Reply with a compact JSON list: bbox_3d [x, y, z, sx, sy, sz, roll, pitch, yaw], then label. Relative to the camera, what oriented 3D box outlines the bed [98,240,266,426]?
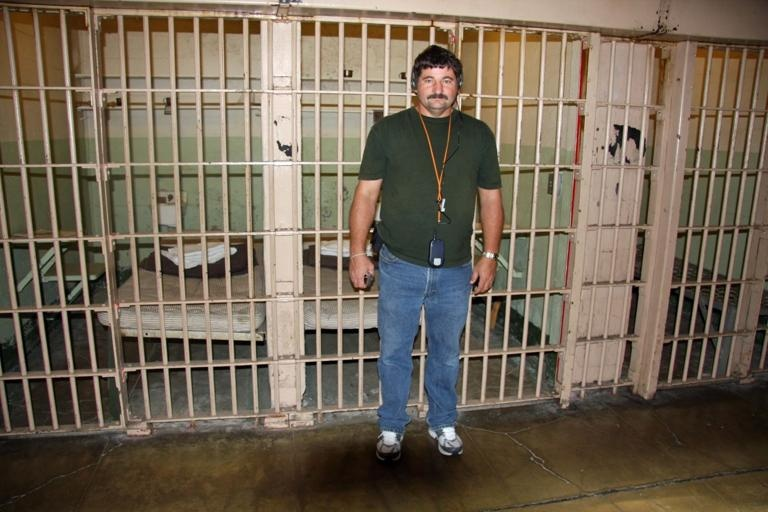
[{"bbox_3d":[-1.722,0.531,5.413,1.319,1.498,1.378,-4,14,-11],"label":"bed"}]

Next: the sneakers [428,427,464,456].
[{"bbox_3d":[0.502,1.460,4.808,0.151,0.134,0.310,0,3,-27],"label":"sneakers"}]

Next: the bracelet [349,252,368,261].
[{"bbox_3d":[-0.184,0.006,4.551,0.123,0.068,0.120,-3,14,-10],"label":"bracelet"}]

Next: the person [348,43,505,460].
[{"bbox_3d":[0.331,0.012,4.625,1.175,3.118,0.664,-2,15,-3],"label":"person"}]

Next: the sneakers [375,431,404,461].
[{"bbox_3d":[0.040,1.475,4.691,0.146,0.107,0.266,1,15,-1],"label":"sneakers"}]

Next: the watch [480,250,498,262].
[{"bbox_3d":[0.816,-0.001,4.688,0.104,0.058,0.102,4,3,-37],"label":"watch"}]

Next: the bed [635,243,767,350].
[{"bbox_3d":[3.480,0.456,6.655,1.527,1.255,0.343,3,7,-6],"label":"bed"}]

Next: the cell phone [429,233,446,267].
[{"bbox_3d":[0.392,-0.030,4.477,0.116,0.242,0.082,0,15,5],"label":"cell phone"}]
